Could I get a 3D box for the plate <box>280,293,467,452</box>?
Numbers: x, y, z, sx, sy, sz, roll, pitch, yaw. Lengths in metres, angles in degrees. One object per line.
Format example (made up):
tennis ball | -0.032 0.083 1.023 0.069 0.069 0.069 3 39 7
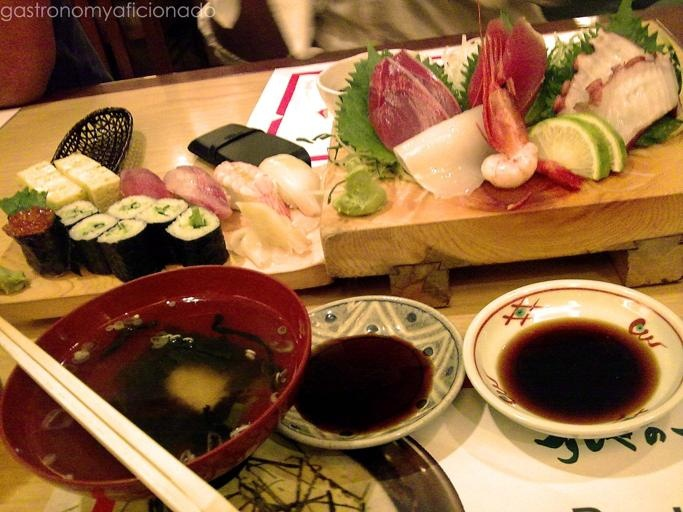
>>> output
plate | 0.138 0.217 1.256 0.377 0.087 0.341 -14 32 -3
